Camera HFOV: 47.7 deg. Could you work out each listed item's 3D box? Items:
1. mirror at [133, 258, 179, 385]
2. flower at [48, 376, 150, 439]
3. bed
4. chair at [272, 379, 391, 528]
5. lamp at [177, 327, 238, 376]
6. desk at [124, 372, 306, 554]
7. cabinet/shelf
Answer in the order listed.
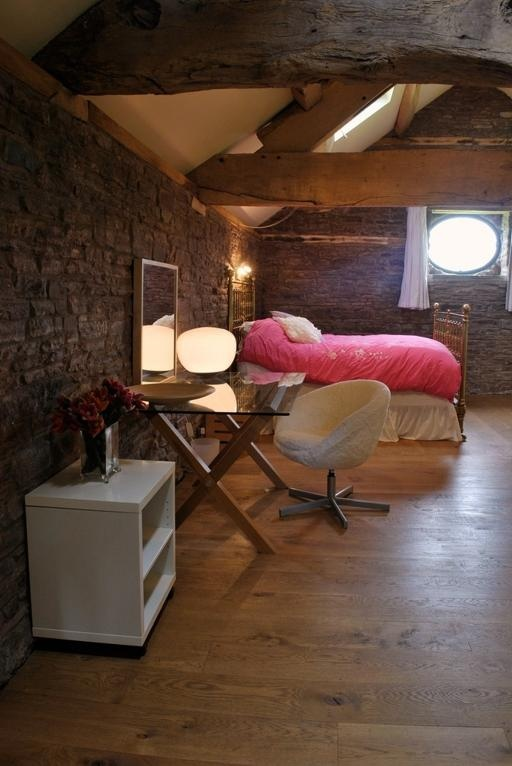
[{"bbox_3d":[-0.619,-0.426,3.196,0.474,0.434,0.040,-5,-11,35],"label":"mirror"},{"bbox_3d":[-0.537,0.090,1.988,0.163,0.181,0.308,6,10,31],"label":"flower"},{"bbox_3d":[0.806,-0.318,5.220,1.940,1.186,1.350,-1,16,1],"label":"bed"},{"bbox_3d":[0.408,0.355,3.134,0.606,0.687,0.704,-2,6,-12],"label":"chair"},{"bbox_3d":[-0.293,-0.166,3.446,0.406,0.278,0.396,0,-5,-3],"label":"lamp"},{"bbox_3d":[-0.166,0.356,2.749,0.816,0.587,0.804,0,5,6],"label":"desk"},{"bbox_3d":[-0.534,0.581,2.073,0.392,0.523,0.479,1,9,5],"label":"cabinet/shelf"}]
